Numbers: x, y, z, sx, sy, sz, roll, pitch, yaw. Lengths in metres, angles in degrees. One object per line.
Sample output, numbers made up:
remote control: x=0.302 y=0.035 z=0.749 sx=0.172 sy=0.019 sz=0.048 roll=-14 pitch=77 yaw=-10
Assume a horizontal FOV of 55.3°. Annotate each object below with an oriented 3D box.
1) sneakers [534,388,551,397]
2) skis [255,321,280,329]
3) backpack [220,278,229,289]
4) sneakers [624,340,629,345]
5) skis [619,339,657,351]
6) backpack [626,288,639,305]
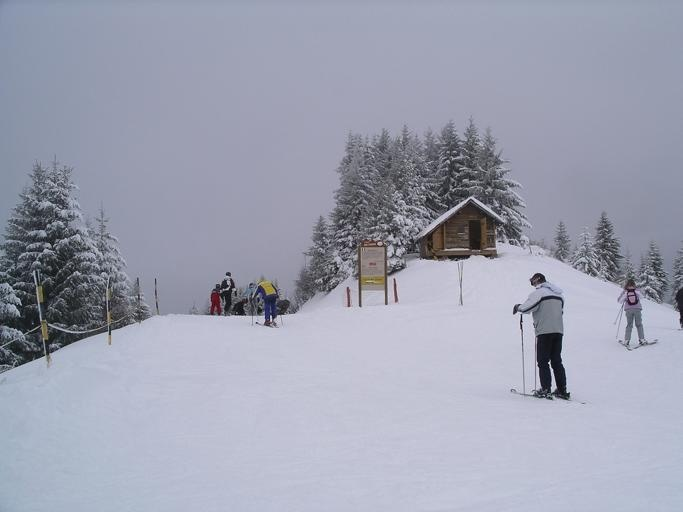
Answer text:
sneakers: x=4.887 y=3.355 z=15.888 sx=0.411 sy=0.241 sz=0.152 roll=-2 pitch=2 yaw=-7
skis: x=-2.538 y=2.515 z=23.523 sx=0.700 sy=0.201 sz=0.096 roll=-2 pitch=-8 yaw=31
backpack: x=-5.337 y=1.283 z=29.787 sx=0.324 sy=0.544 sz=0.708 roll=-2 pitch=13 yaw=-14
sneakers: x=8.840 y=2.717 z=20.271 sx=0.144 sy=0.077 sz=0.214 roll=0 pitch=-1 yaw=16
skis: x=9.178 y=2.797 z=20.278 sx=1.140 sy=0.152 sz=0.165 roll=-6 pitch=3 yaw=-37
backpack: x=9.162 y=1.312 z=20.626 sx=0.426 sy=0.519 sz=0.333 roll=17 pitch=-15 yaw=-26
